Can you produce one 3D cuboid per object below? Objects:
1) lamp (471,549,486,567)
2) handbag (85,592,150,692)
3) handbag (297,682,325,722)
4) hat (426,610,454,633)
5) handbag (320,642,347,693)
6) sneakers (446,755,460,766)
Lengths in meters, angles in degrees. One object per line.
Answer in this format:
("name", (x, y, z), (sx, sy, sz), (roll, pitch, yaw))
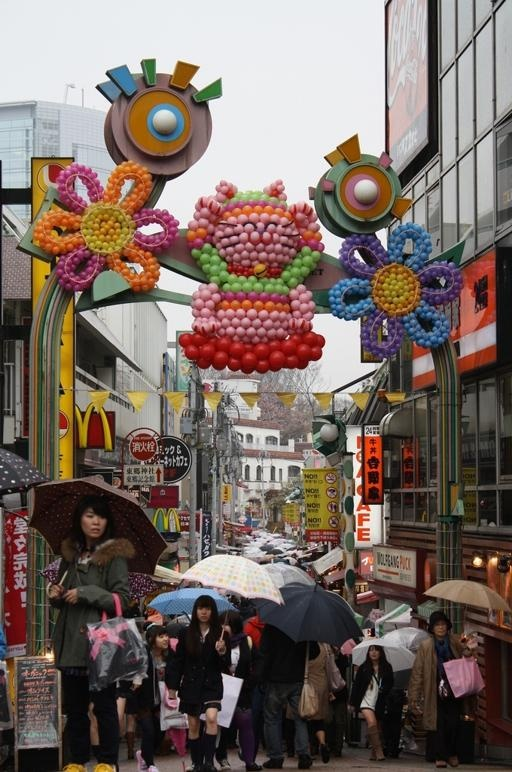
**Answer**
("lamp", (3.444, 2.738, 15.214), (0.193, 0.251, 0.241), (17, 13, -10))
("handbag", (-0.800, 1.572, 5.735), (0.360, 0.397, 0.109), (3, -9, -28))
("handbag", (0.523, 3.095, 9.560), (0.222, 0.482, 0.486), (-7, -22, 18))
("hat", (1.916, 2.491, 10.261), (0.219, 0.163, 0.305), (0, -33, -2))
("handbag", (0.847, 3.193, 10.982), (0.266, 0.667, 0.490), (-3, 6, -11))
("sneakers", (2.003, 3.866, 9.991), (0.098, 0.090, 0.137), (-2, -4, 3))
